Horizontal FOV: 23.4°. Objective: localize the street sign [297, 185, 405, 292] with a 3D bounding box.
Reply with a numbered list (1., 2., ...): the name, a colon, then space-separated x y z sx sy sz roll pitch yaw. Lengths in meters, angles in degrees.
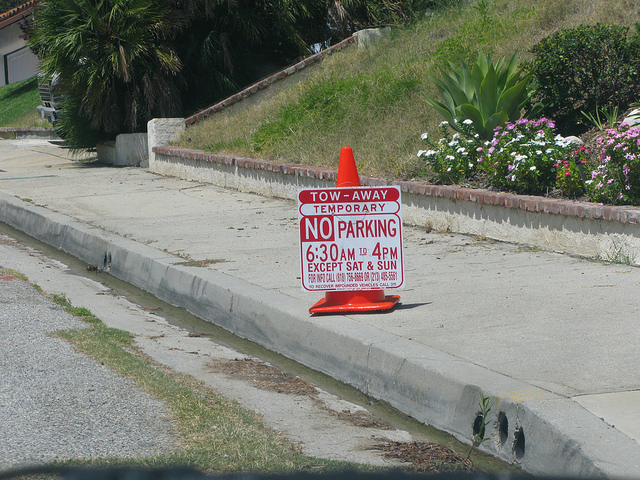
1. street sign: 0.428 0.005 20.839 1.388 1.385 0.296 -4 11 -1
